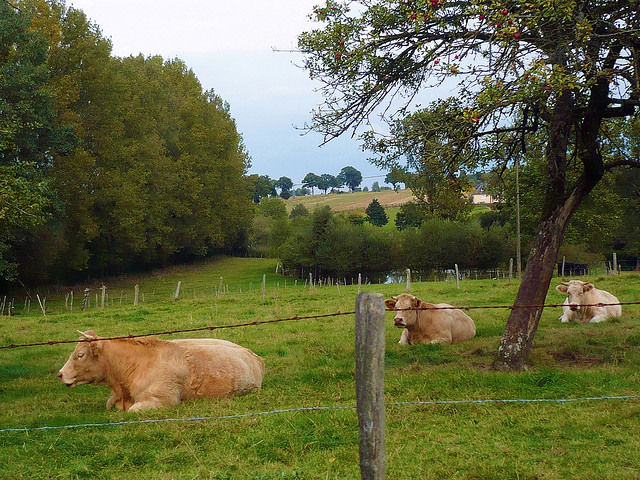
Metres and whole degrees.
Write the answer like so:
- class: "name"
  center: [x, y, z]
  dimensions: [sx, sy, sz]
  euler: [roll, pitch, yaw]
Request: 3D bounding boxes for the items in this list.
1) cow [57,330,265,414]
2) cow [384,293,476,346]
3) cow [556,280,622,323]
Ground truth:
- class: "cow"
  center: [-3.954, 3.399, 18.084]
  dimensions: [4.201, 2.016, 2.117]
  euler: [1, -3, -3]
- class: "cow"
  center: [3.246, 2.407, 21.703]
  dimensions: [2.547, 1.217, 1.358]
  euler: [8, -15, -25]
- class: "cow"
  center: [8.635, 2.027, 23.627]
  dimensions: [1.306, 1.213, 2.498]
  euler: [-12, -17, 40]
